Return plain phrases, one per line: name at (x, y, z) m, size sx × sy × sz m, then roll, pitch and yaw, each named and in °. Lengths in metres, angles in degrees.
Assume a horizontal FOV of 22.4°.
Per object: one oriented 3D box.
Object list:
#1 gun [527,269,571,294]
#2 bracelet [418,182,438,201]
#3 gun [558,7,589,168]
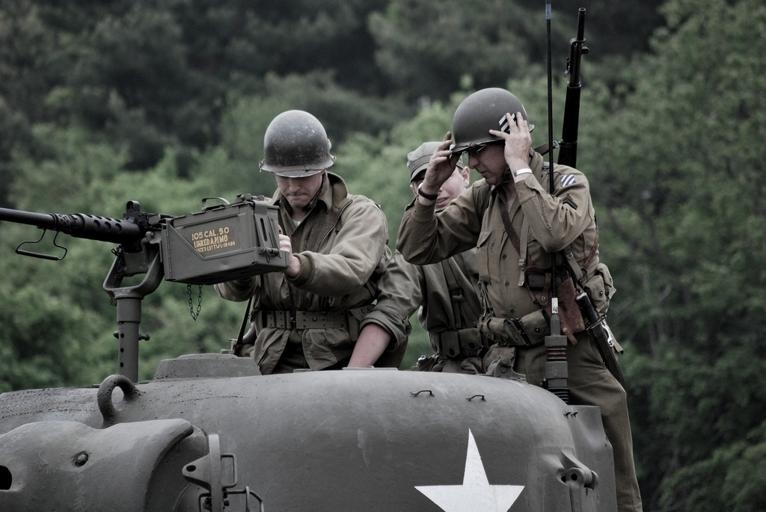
gun at (2.808, 0.507, 34.536) m, size 0.485 × 0.514 × 0.211 m, roll -1°, pitch 18°, yaw 2°
bracelet at (0.737, -1.086, 34.984) m, size 0.322 × 0.217 × 0.339 m, roll 12°, pitch -5°, yaw -23°
gun at (3.140, -2.980, 35.363) m, size 0.433 × 3.189 × 0.936 m, roll 9°, pitch 12°, yaw 25°
